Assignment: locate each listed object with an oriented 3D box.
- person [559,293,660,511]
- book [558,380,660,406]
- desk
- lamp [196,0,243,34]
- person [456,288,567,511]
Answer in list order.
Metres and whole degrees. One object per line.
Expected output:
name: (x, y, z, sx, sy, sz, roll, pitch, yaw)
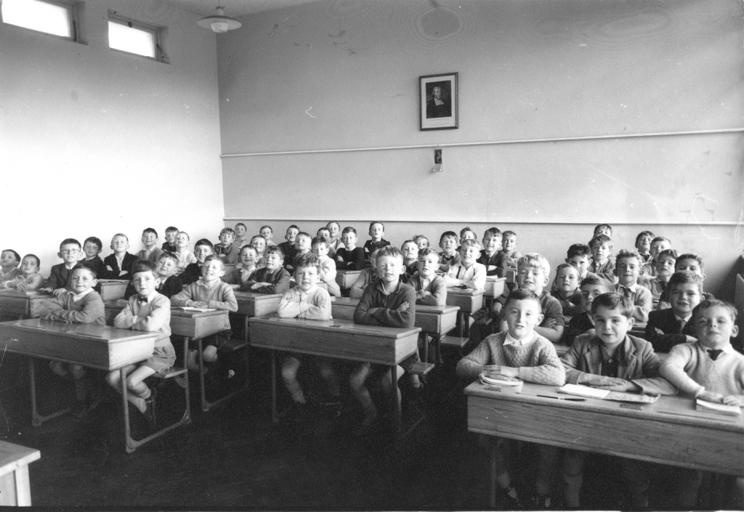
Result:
person: (1.124, 0.718, 2.564, 0.413, 1.098, 0.308, 4, 5, 26)
book: (1.042, 0.614, 2.376, 0.419, 0.025, 0.151, 4, 6, 21)
desk: (-0.063, 0.763, 2.878, 2.836, 1.146, 0.634, 1, 2, 0)
lamp: (-1.000, -1.518, 3.570, 0.243, 0.256, 0.239, -1, -2, -4)
person: (0.666, 0.706, 2.608, 0.504, 1.086, 0.309, 2, 5, 9)
